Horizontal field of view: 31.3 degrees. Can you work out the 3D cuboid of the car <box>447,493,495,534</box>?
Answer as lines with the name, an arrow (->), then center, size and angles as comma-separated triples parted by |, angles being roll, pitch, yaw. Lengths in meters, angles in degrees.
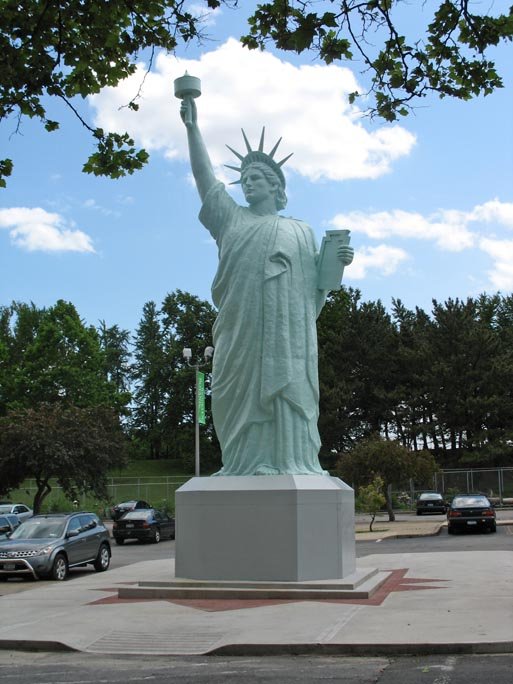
car -> 6.452, 5.296, 27.738 | 1.434, 0.988, 2.033 | -3, -7, 10
